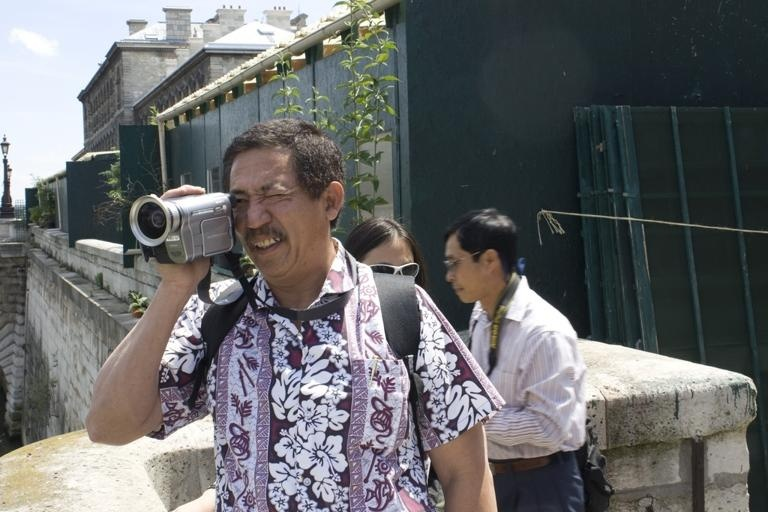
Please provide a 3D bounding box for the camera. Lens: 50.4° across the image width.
[{"bbox_3d":[-1.162,-0.194,4.742,0.445,0.421,0.581,9,15,42],"label":"camera"}]
